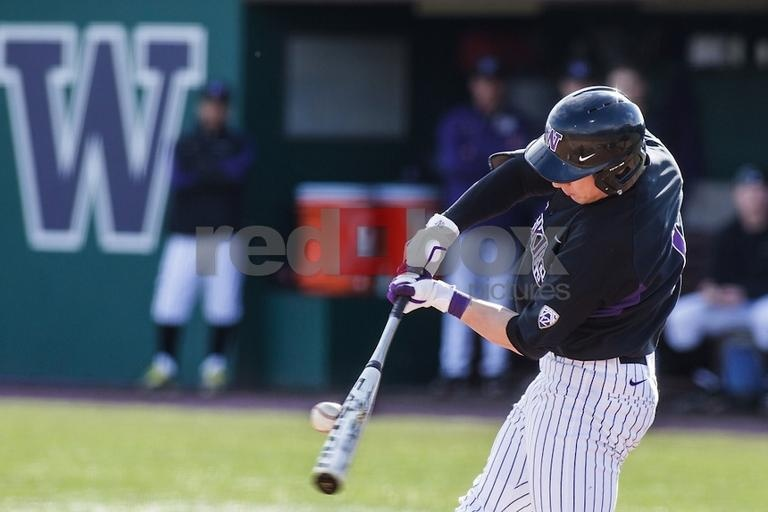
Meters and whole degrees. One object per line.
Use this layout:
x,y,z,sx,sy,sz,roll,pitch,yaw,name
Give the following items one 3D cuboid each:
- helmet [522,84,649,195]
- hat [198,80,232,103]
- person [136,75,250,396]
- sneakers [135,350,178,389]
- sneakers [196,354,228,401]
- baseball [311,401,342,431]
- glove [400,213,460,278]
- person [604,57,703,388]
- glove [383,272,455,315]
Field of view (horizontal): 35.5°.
0.901,-0.489,5.076,0.364,0.498,0.372,56,2,-46,helmet
-0.930,-0.907,6.606,0.176,0.124,0.071,-1,7,-45,hat
-1.068,-0.118,6.800,0.522,1.709,0.392,3,5,-10,person
-1.265,0.644,6.715,0.206,0.192,0.169,3,5,-11,sneakers
-0.987,0.691,6.862,0.145,0.206,0.081,12,-26,-4,sneakers
-0.260,0.707,5.278,0.114,0.097,0.134,-1,-1,2,baseball
0.207,-0.037,5.423,0.195,0.303,0.128,40,-5,8,glove
1.717,-0.235,7.588,0.429,1.808,1.021,5,-2,-9,person
0.164,0.165,5.262,0.255,0.122,0.155,0,14,-26,glove
